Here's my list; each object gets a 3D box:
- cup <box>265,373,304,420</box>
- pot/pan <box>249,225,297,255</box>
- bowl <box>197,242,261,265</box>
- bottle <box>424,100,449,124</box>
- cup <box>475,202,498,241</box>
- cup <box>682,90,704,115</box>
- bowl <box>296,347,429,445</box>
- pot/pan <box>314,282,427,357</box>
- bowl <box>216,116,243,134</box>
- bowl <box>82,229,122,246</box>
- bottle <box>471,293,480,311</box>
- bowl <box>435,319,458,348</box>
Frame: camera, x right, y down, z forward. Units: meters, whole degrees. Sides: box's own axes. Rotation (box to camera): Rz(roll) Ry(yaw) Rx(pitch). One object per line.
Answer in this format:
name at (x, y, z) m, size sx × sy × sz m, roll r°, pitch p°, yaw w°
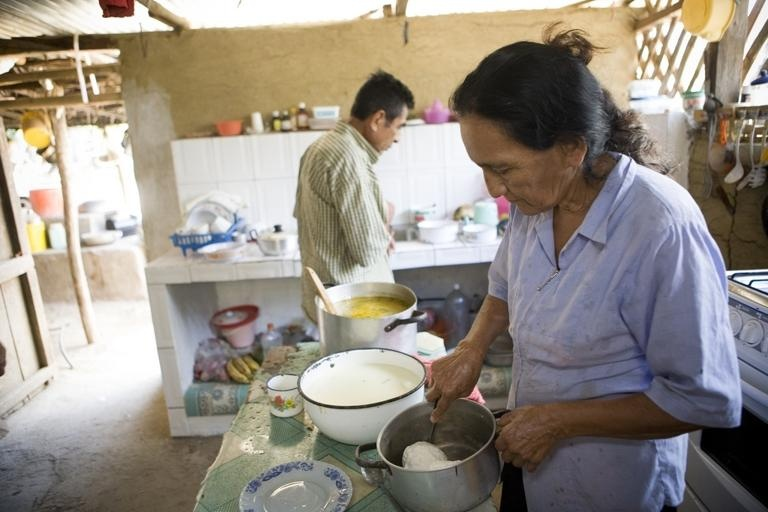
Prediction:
cup at (-0.501, 0.723, 3.073) m, size 0.163 × 0.143 × 0.212 m, roll 4°, pitch 10°, yaw 18°
pot/pan at (-0.902, -0.136, 5.017) m, size 0.313 × 0.242 × 0.264 m, roll -5°, pitch 13°, yaw 7°
bowl at (-1.320, -0.049, 5.050) m, size 0.526 × 0.135 × 0.473 m, roll -10°, pitch 13°, yaw -21°
bottle at (0.481, -1.293, 5.455) m, size 0.278 × 0.187 × 0.199 m, roll -2°, pitch 29°, yaw -4°
cup at (0.925, -0.300, 5.338) m, size 0.211 × 0.309 × 0.332 m, roll -3°, pitch 6°, yaw -20°
cup at (2.607, -1.289, 5.001) m, size 0.202 × 0.213 × 0.194 m, roll -2°, pitch 15°, yaw 0°
bowl at (-0.123, 0.678, 2.943) m, size 0.571 × 0.207 × 0.555 m, roll -5°, pitch 19°, yaw 2°
pot/pan at (-0.016, 0.419, 3.329) m, size 0.575 × 0.400 × 0.445 m, roll 12°, pitch 29°, yaw 28°
bowl at (-1.398, -1.157, 5.364) m, size 0.174 × 0.090 × 0.175 m, roll -1°, pitch 3°, yaw 0°
bowl at (-3.775, -0.244, 7.973) m, size 0.276 × 0.176 × 0.588 m, roll 1°, pitch 14°, yaw 28°
bottle at (0.868, 0.432, 5.568) m, size 0.036 × 0.146 × 0.092 m, roll 24°, pitch -17°, yaw -27°
bowl at (0.546, 0.677, 5.184) m, size 0.198 × 0.159 × 0.218 m, roll 2°, pitch 12°, yaw 14°
